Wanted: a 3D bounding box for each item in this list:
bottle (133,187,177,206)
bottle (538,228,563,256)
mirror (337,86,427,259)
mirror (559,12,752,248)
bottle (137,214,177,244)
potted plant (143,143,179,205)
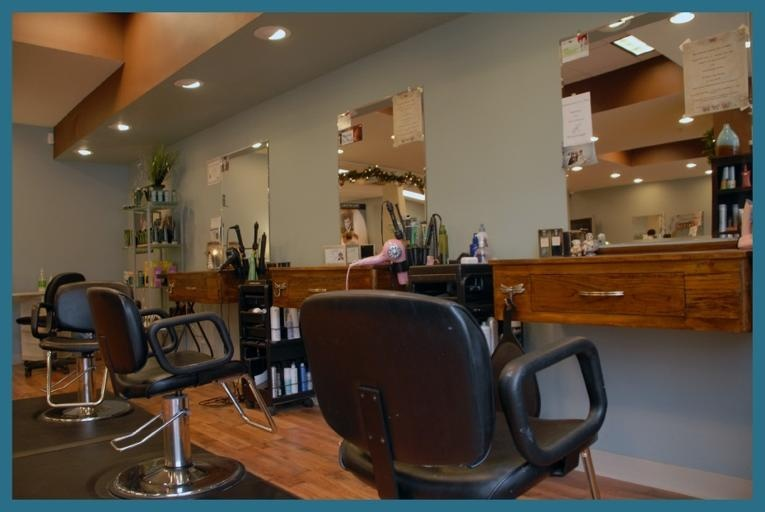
[{"bbox_3d":[-2.827,-0.710,6.638,0.367,0.117,0.280,0,1,20],"label":"bottle"},{"bbox_3d":[1.064,-0.086,3.432,0.057,0.150,0.164,8,-11,-31],"label":"bottle"},{"bbox_3d":[-0.030,-0.649,4.329,0.193,1.246,0.971,-4,5,-43],"label":"mirror"},{"bbox_3d":[1.543,-0.734,3.182,1.001,1.319,0.143,2,5,36],"label":"mirror"},{"bbox_3d":[-2.853,-0.349,6.882,0.336,0.394,0.671,-3,4,-40],"label":"bottle"},{"bbox_3d":[-2.811,-0.999,6.785,0.389,0.713,0.801,-3,4,-33],"label":"potted plant"}]
